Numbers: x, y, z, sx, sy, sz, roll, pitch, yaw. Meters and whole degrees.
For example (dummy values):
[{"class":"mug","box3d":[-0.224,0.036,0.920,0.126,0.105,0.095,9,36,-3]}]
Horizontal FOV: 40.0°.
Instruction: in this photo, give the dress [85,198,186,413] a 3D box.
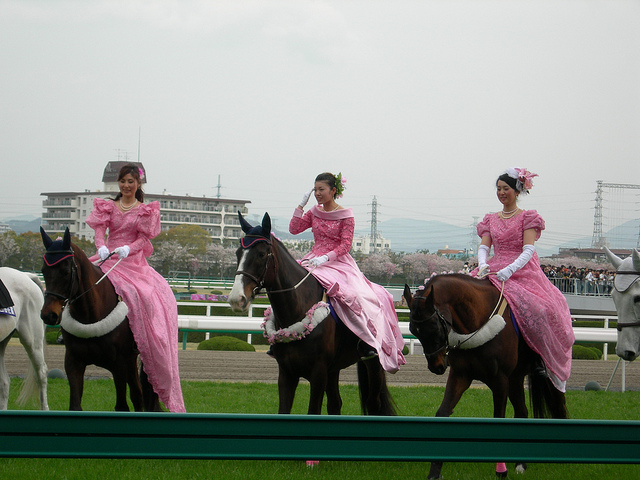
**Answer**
[{"class":"dress","box3d":[-1.923,0.697,9.383,0.883,1.857,0.759,-1,0,31]}]

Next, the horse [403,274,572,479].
[{"class":"horse","box3d":[1.529,1.350,8.152,1.457,1.925,2.702,-1,0,16]}]

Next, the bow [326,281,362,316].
[{"class":"bow","box3d":[0.256,0.588,8.999,0.334,0.127,0.260,41,16,-1]}]

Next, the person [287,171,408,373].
[{"class":"person","box3d":[0.278,0.438,9.528,0.851,2.376,1.480,-14,-19,40]}]

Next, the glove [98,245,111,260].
[{"class":"glove","box3d":[-2.265,0.139,9.272,0.091,0.148,0.048,3,-3,-4]}]

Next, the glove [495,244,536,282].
[{"class":"glove","box3d":[2.019,0.227,9.019,0.119,0.415,0.304,27,10,-32]}]

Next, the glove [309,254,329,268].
[{"class":"glove","box3d":[-0.007,0.226,9.225,0.203,0.120,0.162,-1,0,0]}]

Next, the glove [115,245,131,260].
[{"class":"glove","box3d":[-2.071,0.139,9.274,0.149,0.119,0.175,-1,0,-9]}]

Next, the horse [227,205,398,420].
[{"class":"horse","box3d":[0.118,0.969,9.621,0.792,2.339,3.801,0,0,25]}]

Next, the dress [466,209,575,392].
[{"class":"dress","box3d":[2.122,0.634,9.152,0.973,1.853,0.712,-1,0,6]}]
